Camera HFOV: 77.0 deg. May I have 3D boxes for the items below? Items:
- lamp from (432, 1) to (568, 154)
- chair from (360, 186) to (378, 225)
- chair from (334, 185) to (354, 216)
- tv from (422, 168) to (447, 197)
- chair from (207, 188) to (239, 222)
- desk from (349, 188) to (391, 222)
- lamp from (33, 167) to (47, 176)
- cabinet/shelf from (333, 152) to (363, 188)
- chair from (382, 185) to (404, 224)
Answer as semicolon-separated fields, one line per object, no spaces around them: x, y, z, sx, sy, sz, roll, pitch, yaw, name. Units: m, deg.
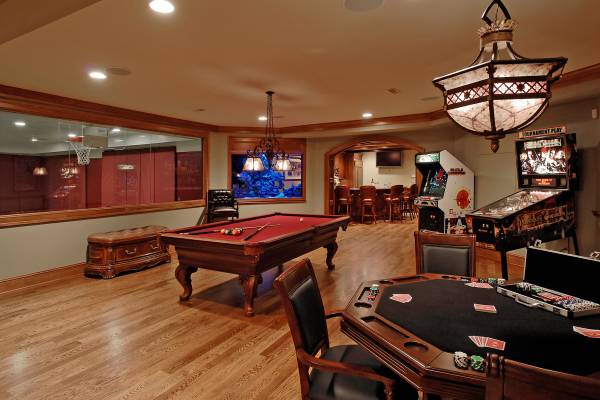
1.667;-1.005;3.062;0.787;1.199;0.787;13;19;41;lamp
2.034;0.119;11.238;0.486;1.206;0.851;2;15;8;chair
1.296;0.040;11.117;0.516;0.979;0.793;2;14;6;chair
2.709;-0.334;7.520;0.202;0.537;0.595;16;-6;-12;tv
-1.776;0.120;8.549;0.758;0.886;0.759;0;-4;-25;chair
2.079;0.121;11.487;1.322;1.105;0.879;0;9;11;desk
-4.202;-0.457;6.115;0.139;0.077;0.132;1;0;-26;lamp
1.907;-1.106;14.268;0.458;1.405;2.197;7;16;25;cabinet/shelf
2.881;0.092;11.533;0.526;1.224;0.939;4;15;14;chair
